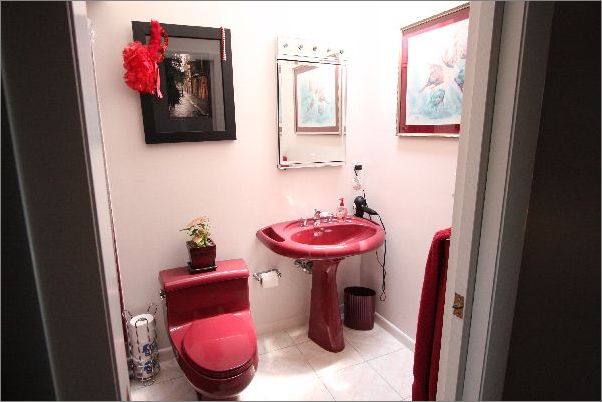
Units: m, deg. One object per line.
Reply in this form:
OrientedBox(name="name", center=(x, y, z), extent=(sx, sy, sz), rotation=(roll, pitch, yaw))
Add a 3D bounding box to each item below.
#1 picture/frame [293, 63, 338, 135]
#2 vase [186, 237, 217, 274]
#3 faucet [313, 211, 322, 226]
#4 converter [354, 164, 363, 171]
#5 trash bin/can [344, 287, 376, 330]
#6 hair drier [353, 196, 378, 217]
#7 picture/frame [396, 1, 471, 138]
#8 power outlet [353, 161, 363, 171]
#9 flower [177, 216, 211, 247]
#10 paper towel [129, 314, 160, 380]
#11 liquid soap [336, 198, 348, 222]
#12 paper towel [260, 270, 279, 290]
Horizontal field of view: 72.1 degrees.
OrientedBox(name="picture/frame", center=(0.087, -0.729, 2.866), extent=(0.454, 0.560, 0.038), rotation=(-5, 11, -24))
OrientedBox(name="vase", center=(-0.595, 0.333, 2.576), extent=(0.223, 0.223, 0.168), rotation=(-4, 27, -16))
OrientedBox(name="faucet", center=(0.118, 0.116, 2.900), extent=(0.059, 0.104, 0.059), rotation=(-8, 15, -19))
OrientedBox(name="converter", center=(0.429, -0.256, 3.077), extent=(0.068, 0.038, 0.046), rotation=(-4, 4, -11))
OrientedBox(name="trash bin/can", center=(0.393, 0.788, 3.150), extent=(0.263, 0.288, 0.268), rotation=(-1, 12, -16))
OrientedBox(name="hair drier", center=(0.478, 0.054, 3.032), extent=(0.125, 0.150, 0.229), rotation=(-6, 14, -11))
OrientedBox(name="picture/frame", center=(0.755, -0.745, 2.444), extent=(0.057, 0.704, 0.509), rotation=(-11, 16, -29))
OrientedBox(name="power outlet", center=(0.422, -0.268, 3.078), extent=(0.096, 0.092, 0.054), rotation=(0, 19, -2))
OrientedBox(name="flower", center=(-0.637, 0.179, 2.575), extent=(0.220, 0.224, 0.133), rotation=(-4, 12, -27))
OrientedBox(name="paper towel", center=(-0.958, 0.900, 2.532), extent=(0.127, 0.387, 0.160), rotation=(2, 15, 21))
OrientedBox(name="liquid soap", center=(0.302, 0.053, 3.055), extent=(0.069, 0.145, 0.176), rotation=(-2, 14, 6))
OrientedBox(name="paper towel", center=(-0.216, 0.538, 2.840), extent=(0.168, 0.116, 0.091), rotation=(-4, 5, -35))
